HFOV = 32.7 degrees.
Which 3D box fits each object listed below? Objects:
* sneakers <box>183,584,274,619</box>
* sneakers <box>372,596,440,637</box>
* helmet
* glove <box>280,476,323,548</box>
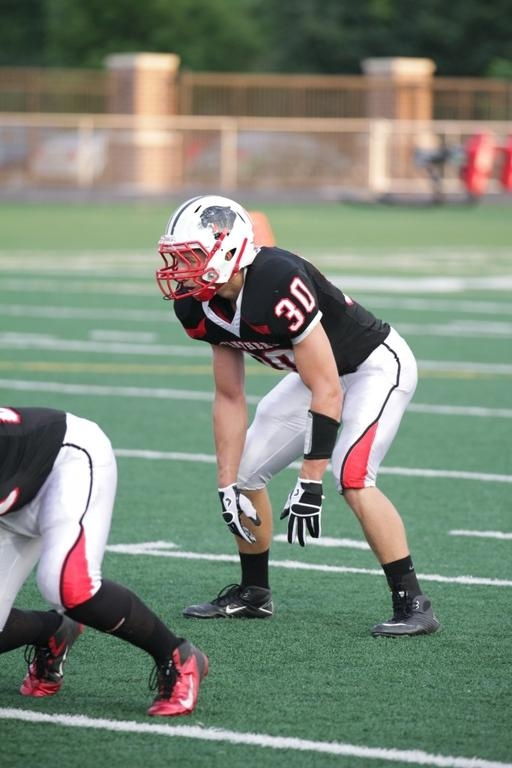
[{"bbox_3d":[-0.068,0.773,3.106,0.372,0.126,0.112,1,-11,-2],"label":"sneakers"},{"bbox_3d":[0.498,0.762,2.890,0.276,0.157,0.095,0,-5,-9],"label":"sneakers"},{"bbox_3d":[-0.142,-0.400,2.559,0.286,0.311,0.246,1,8,-4],"label":"helmet"},{"bbox_3d":[0.136,0.389,2.610,0.115,0.258,0.255,3,8,3],"label":"glove"}]
